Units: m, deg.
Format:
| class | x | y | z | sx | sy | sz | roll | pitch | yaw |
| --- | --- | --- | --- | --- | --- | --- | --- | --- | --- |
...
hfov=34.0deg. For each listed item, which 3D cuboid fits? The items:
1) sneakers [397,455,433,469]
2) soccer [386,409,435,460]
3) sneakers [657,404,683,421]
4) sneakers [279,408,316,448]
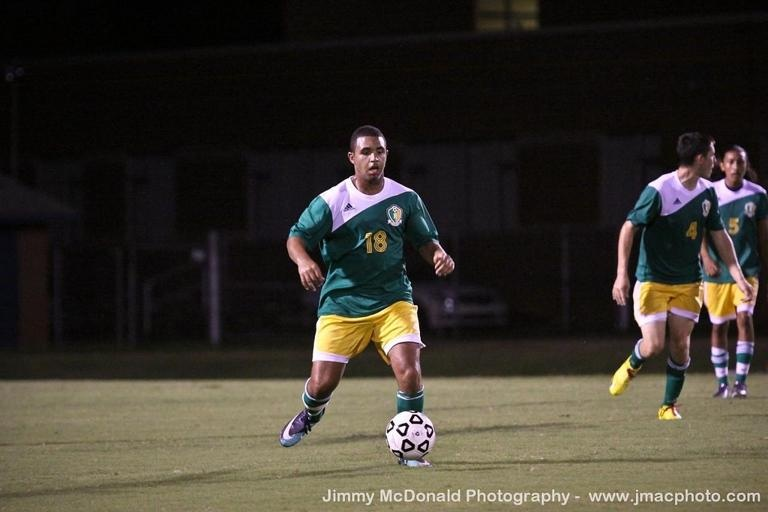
| class | x | y | z | sx | sy | sz | roll | pitch | yaw |
| --- | --- | --- | --- | --- | --- | --- | --- | --- | --- |
| sneakers | 0.432 | 2.882 | 17.584 | 0.459 | 0.220 | 0.172 | 0 | 6 | 6 |
| soccer | 0.377 | 2.504 | 17.545 | 0.653 | 0.679 | 0.640 | -1 | -29 | 2 |
| sneakers | 4.388 | 2.407 | 19.340 | 0.198 | 0.166 | 0.358 | 1 | -13 | -8 |
| sneakers | -1.257 | 2.532 | 18.414 | 0.608 | 0.217 | 0.264 | -43 | -3 | 3 |
